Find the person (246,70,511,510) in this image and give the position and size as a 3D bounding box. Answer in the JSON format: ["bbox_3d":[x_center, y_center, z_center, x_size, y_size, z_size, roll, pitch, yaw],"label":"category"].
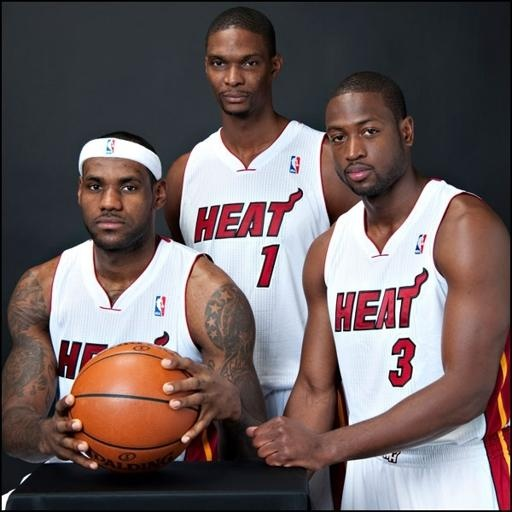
[{"bbox_3d":[0.446,0.198,2.196,0.802,1.575,0.808,2,16,22],"label":"person"}]

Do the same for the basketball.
[{"bbox_3d":[-0.350,0.423,1.891,0.358,0.418,0.374,-3,10,10],"label":"basketball"}]
